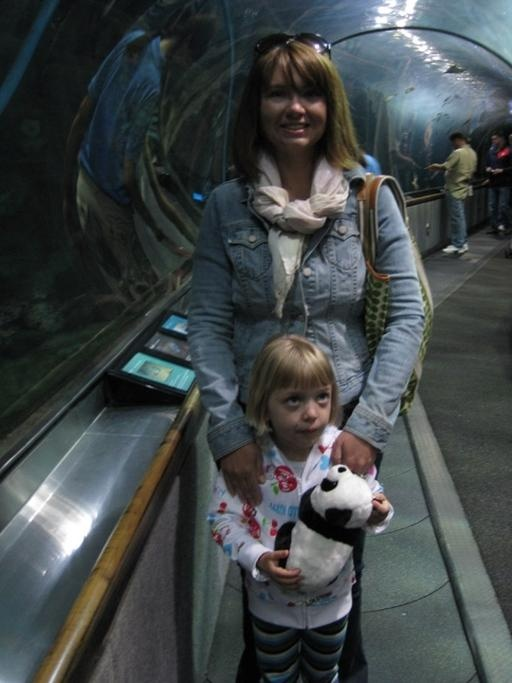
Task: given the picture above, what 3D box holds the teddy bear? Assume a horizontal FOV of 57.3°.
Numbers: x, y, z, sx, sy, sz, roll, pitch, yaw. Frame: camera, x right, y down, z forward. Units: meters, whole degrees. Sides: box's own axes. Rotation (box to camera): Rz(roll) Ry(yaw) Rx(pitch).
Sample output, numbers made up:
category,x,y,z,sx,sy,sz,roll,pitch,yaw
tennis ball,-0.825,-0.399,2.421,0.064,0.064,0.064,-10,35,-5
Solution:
category,x,y,z,sx,sy,sz,roll,pitch,yaw
teddy bear,0.154,0.423,1.039,0.207,0.297,0.080,-5,18,14
